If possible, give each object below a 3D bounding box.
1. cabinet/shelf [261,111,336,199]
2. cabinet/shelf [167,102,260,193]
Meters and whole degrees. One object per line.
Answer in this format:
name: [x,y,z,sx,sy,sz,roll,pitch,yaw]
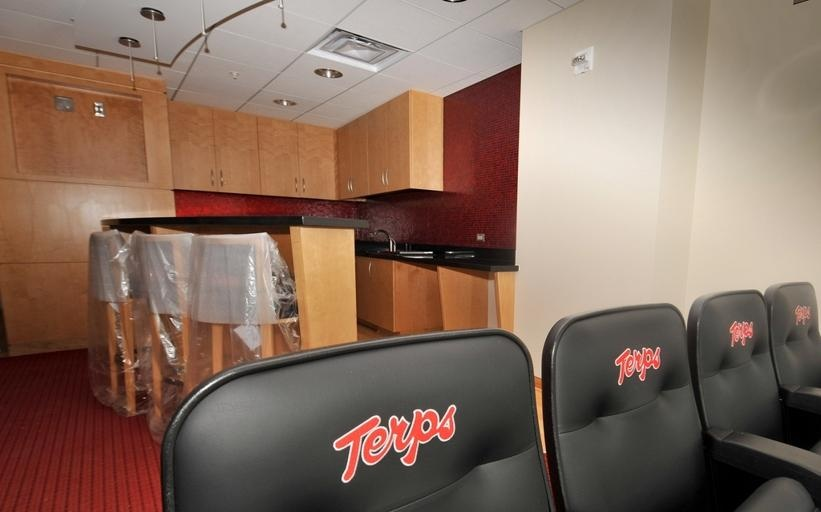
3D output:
cabinet/shelf: [-1.457,-1.261,6.436,0.983,0.872,0.400,-1,2,-34]
cabinet/shelf: [-2.335,-1.251,5.931,1.046,0.921,0.382,-2,5,-35]
